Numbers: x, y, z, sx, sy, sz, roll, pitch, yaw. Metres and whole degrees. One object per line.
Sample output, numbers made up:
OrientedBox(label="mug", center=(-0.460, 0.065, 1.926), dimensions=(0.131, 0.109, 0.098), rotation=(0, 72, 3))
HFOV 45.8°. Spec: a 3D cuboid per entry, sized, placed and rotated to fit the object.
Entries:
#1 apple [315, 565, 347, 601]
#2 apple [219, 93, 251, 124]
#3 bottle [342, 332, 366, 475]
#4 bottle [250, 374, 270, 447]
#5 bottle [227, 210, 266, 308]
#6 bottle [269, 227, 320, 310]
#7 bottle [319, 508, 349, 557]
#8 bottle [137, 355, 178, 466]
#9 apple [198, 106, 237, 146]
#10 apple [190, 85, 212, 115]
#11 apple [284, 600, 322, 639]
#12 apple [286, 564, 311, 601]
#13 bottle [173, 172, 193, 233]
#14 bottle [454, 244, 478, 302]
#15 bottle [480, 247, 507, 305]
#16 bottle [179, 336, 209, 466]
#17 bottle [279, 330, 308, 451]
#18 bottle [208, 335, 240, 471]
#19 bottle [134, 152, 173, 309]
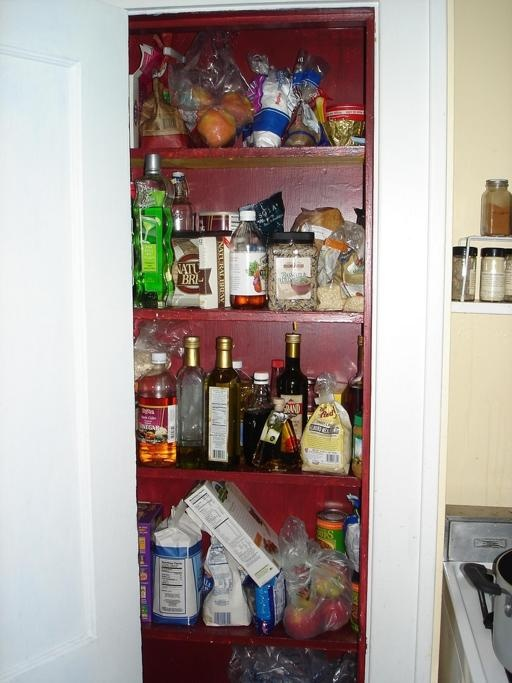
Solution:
OrientedBox(label="apple", center=(0.171, 0.543, 1.365), dimensions=(0.054, 0.062, 0.020), rotation=(-1, -9, -3))
OrientedBox(label="apple", center=(-0.039, -0.502, 1.302), dimensions=(0.062, 0.064, 0.036), rotation=(-1, -7, -12))
OrientedBox(label="bottle", center=(0.217, 0.133, 1.361), dimensions=(0.046, 0.297, 0.202), rotation=(-2, 6, 8))
OrientedBox(label="bottle", center=(0.012, 0.150, 1.389), dimensions=(0.042, 0.162, 0.078), rotation=(-3, 6, 1))
OrientedBox(label="bottle", center=(-0.018, -0.173, 1.292), dimensions=(0.080, 0.209, 0.048), rotation=(-3, 5, -2))
OrientedBox(label="bottle", center=(0.084, -0.168, 1.315), dimensions=(0.110, 0.177, 0.101), rotation=(-2, 33, 2))
OrientedBox(label="bottle", center=(0.182, 0.454, 1.453), dimensions=(0.079, 0.089, 0.080), rotation=(1, 5, 14))
OrientedBox(label="bottle", center=(-0.229, 0.152, 1.378), dimensions=(0.098, 0.252, 0.110), rotation=(-3, 6, -7))
OrientedBox(label="apple", center=(-0.087, -0.466, 1.362), dimensions=(0.080, 0.079, 0.084), rotation=(-27, 32, 14))
OrientedBox(label="apple", center=(-0.120, -0.525, 1.322), dimensions=(0.029, 0.057, 0.056), rotation=(-17, 34, -27))
OrientedBox(label="apple", center=(0.101, 0.619, 1.349), dimensions=(0.081, 0.073, 0.042), rotation=(0, 6, 25))
OrientedBox(label="apple", center=(0.098, 0.551, 1.391), dimensions=(0.065, 0.071, 0.070), rotation=(0, -4, -2))
OrientedBox(label="bottle", center=(-0.176, -0.329, 1.444), dimensions=(0.049, 0.136, 0.109), rotation=(-3, 6, -7))
OrientedBox(label="bottle", center=(0.467, -0.152, 1.359), dimensions=(0.064, 0.111, 0.065), rotation=(0, 4, 0))
OrientedBox(label="bottle", center=(0.501, -0.141, 1.282), dimensions=(0.051, 0.113, 0.039), rotation=(-1, 6, 20))
OrientedBox(label="bottle", center=(-0.152, 0.133, 1.403), dimensions=(0.075, 0.290, 0.117), rotation=(-3, 6, -5))
OrientedBox(label="bottle", center=(0.085, 0.096, 1.428), dimensions=(0.072, 0.243, 0.177), rotation=(-2, 6, 4))
OrientedBox(label="bottle", center=(-0.077, 0.137, 1.362), dimensions=(0.078, 0.290, 0.060), rotation=(-3, 5, -5))
OrientedBox(label="bottle", center=(-0.220, -0.235, 1.333), dimensions=(0.110, 0.323, 0.107), rotation=(-3, 5, 0))
